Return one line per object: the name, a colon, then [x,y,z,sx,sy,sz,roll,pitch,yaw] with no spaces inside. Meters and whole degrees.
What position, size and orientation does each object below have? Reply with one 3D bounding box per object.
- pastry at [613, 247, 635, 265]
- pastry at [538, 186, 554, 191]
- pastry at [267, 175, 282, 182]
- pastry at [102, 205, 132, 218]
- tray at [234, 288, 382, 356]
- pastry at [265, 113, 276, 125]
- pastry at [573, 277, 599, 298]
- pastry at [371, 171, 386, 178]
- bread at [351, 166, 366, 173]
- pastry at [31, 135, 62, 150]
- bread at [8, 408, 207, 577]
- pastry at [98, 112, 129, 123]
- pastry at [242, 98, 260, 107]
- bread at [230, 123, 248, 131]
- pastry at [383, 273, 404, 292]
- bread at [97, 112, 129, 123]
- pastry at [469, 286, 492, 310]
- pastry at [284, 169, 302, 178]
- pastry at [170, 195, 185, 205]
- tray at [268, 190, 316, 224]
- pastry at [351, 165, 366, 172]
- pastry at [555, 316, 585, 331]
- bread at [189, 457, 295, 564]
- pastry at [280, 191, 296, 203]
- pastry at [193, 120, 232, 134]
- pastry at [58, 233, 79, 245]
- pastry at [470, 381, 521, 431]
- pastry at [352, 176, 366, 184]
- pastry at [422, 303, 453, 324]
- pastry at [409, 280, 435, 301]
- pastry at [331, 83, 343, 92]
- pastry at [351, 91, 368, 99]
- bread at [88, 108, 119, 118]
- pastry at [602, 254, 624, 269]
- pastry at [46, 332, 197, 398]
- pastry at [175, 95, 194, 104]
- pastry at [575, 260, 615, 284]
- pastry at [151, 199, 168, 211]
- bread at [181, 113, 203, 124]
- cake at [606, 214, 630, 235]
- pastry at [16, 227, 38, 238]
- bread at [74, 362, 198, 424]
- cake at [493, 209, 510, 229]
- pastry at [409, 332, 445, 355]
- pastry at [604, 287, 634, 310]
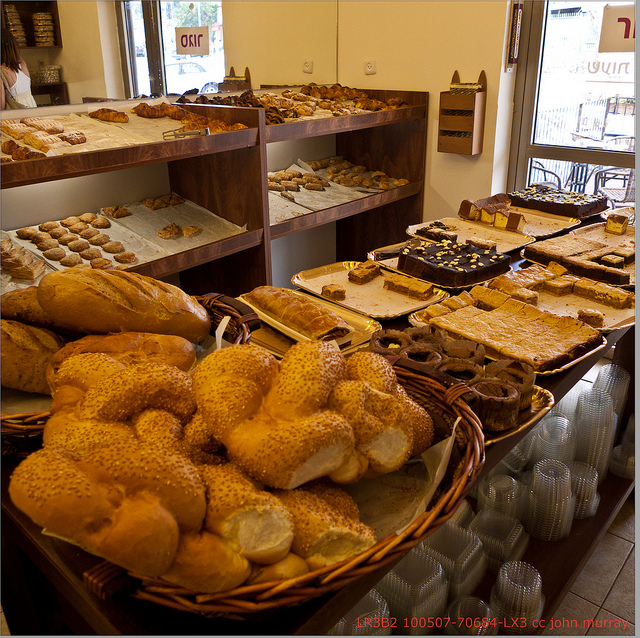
pastry: [1.121,-0.239,1.822,0.066,0.040,0.064,-14,28,-18]
pastry: [1.194,-0.691,2.616,0.046,0.016,0.045,-5,15,-8]
pastry: [-0.288,-0.898,3.161,0.082,0.024,0.050,8,42,19]
pastry: [-1.014,-0.540,2.488,0.103,0.043,0.108,20,28,40]
tray: [-0.004,0.031,1.305,0.204,0.039,0.284,-23,38,-39]
pastry: [-0.264,-1.055,2.612,0.042,0.053,0.082,1,21,1]
pastry: [0.860,-0.109,1.625,0.062,0.017,0.064,-42,45,-23]
pastry: [0.424,-1.055,3.623,0.079,0.026,0.104,-2,15,3]
bread: [0.280,-1.105,3.668,0.083,0.021,0.081,3,28,3]
pastry: [-1.105,-0.715,1.996,0.089,0.025,0.094,23,33,30]
bread: [-0.219,0.141,0.499,0.169,0.050,0.161,34,32,29]
pastry: [-1.013,-0.986,2.427,0.127,0.037,0.065,9,20,10]
pastry: [-0.372,-1.182,2.715,0.079,0.023,0.082,-5,30,-3]
bread: [-0.397,-0.923,2.379,0.052,0.016,0.057,22,36,38]
pastry: [0.241,-0.130,1.662,0.059,0.018,0.060,21,38,32]
bread: [-1.021,-0.986,2.447,0.132,0.038,0.064,6,21,10]
pastry: [0.491,-0.081,1.523,0.060,0.056,0.085,4,30,21]
pastry: [-0.183,-0.973,3.315,0.092,0.027,0.091,18,17,-2]
pastry: [-0.786,-0.651,2.719,0.063,0.016,0.059,-19,54,-32]
tray: [-0.216,-0.646,2.873,0.278,0.005,0.238,-15,40,-27]
pastry: [0.282,-1.113,3.679,0.074,0.025,0.084,4,23,12]
pastry: [0.681,0.010,1.335,0.047,0.012,0.046,-14,31,-5]
bread: [-0.094,0.213,0.554,0.119,0.038,0.067,41,38,7]
pastry: [-0.185,-0.740,2.987,0.047,0.024,0.085,-24,50,-34]
pastry: [-0.493,-0.918,2.370,0.112,0.040,0.139,18,30,35]
pastry: [-1.106,-0.356,2.190,0.067,0.035,0.052,-5,15,-3]
pastry: [0.314,0.152,0.938,0.097,0.067,0.094,-5,20,-11]
pastry: [0.263,-0.970,3.421,0.070,0.024,0.087,12,24,24]
pastry: [0.326,-0.025,1.413,0.070,0.022,0.051,-25,37,-35]
pastry: [0.326,-0.093,1.603,0.070,0.045,0.071,15,26,33]
pastry: [0.124,-1.719,3.681,0.101,0.024,0.107,4,10,26]
pastry: [0.281,-1.578,3.504,0.106,0.033,0.100,-5,12,14]
bread: [-1.103,-1.045,2.509,0.097,0.028,0.089,9,31,29]
pastry: [1.041,-0.206,1.771,0.055,0.033,0.053,-17,29,-27]
pastry: [-0.338,0.051,0.848,0.182,0.057,0.130,-6,19,-32]
pastry: [-0.765,-1.237,2.798,0.102,0.034,0.137,-5,22,-14]
pastry: [0.968,-0.189,1.754,0.081,0.052,0.107,-11,26,-22]
pastry: [-0.854,-0.603,2.615,0.058,0.013,0.059,-9,40,-19]
bread: [-0.639,-1.006,2.493,0.084,0.020,0.082,-31,19,-32]
cake: [1.285,-0.411,2.155,0.082,0.074,0.068,12,24,28]
pastry: [-1.265,-0.372,2.134,0.058,0.021,0.060,-5,31,-11]
bread: [-0.240,0.085,0.648,0.094,0.041,0.126,-19,10,-4]
cake: [0.814,-0.453,2.240,0.074,0.099,0.089,14,26,28]
pastry: [0.237,0.052,1.084,0.049,0.017,0.048,5,22,-8]
pastry: [0.937,-0.078,1.563,0.070,0.041,0.068,-22,34,-21]
